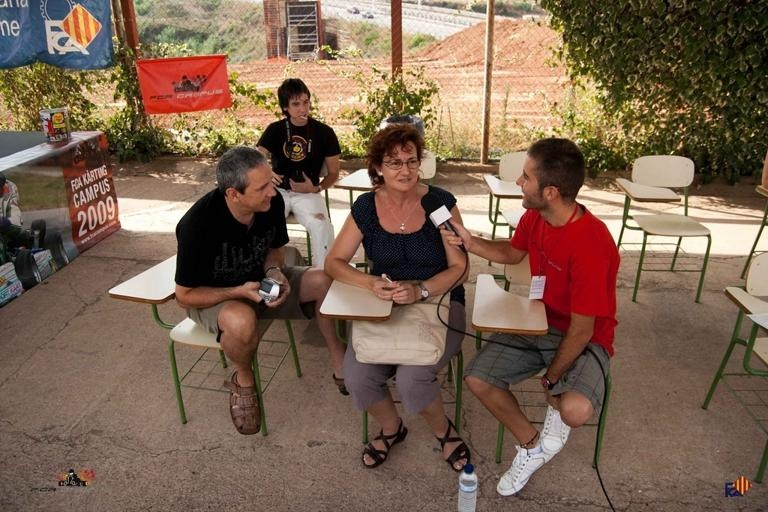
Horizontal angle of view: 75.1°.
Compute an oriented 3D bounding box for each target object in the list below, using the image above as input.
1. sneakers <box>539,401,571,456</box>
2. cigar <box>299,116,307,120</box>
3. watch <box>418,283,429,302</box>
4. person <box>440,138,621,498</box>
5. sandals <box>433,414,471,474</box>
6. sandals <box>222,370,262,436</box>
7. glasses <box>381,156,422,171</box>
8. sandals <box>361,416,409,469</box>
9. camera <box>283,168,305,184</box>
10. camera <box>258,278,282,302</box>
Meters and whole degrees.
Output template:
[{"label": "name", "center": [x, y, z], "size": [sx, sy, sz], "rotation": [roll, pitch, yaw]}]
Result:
[{"label": "sneakers", "center": [1.099, 1.135, 3.211], "size": [0.133, 0.151, 0.382], "rotation": [6, 39, 21]}, {"label": "cigar", "center": [-0.815, -1.393, 5.054], "size": [0.093, 0.049, 0.020], "rotation": [-19, 29, -40]}, {"label": "watch", "center": [0.273, 0.255, 3.518], "size": [0.066, 0.112, 0.064], "rotation": [-3, 22, -7]}, {"label": "person", "center": [1.032, 0.396, 3.359], "size": [1.077, 2.234, 1.069], "rotation": [3, 23, 9]}, {"label": "sandals", "center": [0.472, 1.326, 3.545], "size": [0.113, 0.167, 0.415], "rotation": [27, 22, -51]}, {"label": "sandals", "center": [-1.032, 1.044, 3.607], "size": [0.241, 0.442, 0.167], "rotation": [-3, -25, -29]}, {"label": "glasses", "center": [0.125, -0.651, 3.512], "size": [0.265, 0.079, 0.108], "rotation": [-2, 21, -3]}, {"label": "sandals", "center": [-0.028, 1.351, 3.611], "size": [0.181, 0.157, 0.417], "rotation": [17, 41, 42]}, {"label": "camera", "center": [-0.919, -0.828, 5.126], "size": [0.175, 0.156, 0.041], "rotation": [27, -9, -3]}, {"label": "camera", "center": [-0.800, 0.264, 3.594], "size": [0.185, 0.181, 0.108], "rotation": [15, -4, 9]}]
